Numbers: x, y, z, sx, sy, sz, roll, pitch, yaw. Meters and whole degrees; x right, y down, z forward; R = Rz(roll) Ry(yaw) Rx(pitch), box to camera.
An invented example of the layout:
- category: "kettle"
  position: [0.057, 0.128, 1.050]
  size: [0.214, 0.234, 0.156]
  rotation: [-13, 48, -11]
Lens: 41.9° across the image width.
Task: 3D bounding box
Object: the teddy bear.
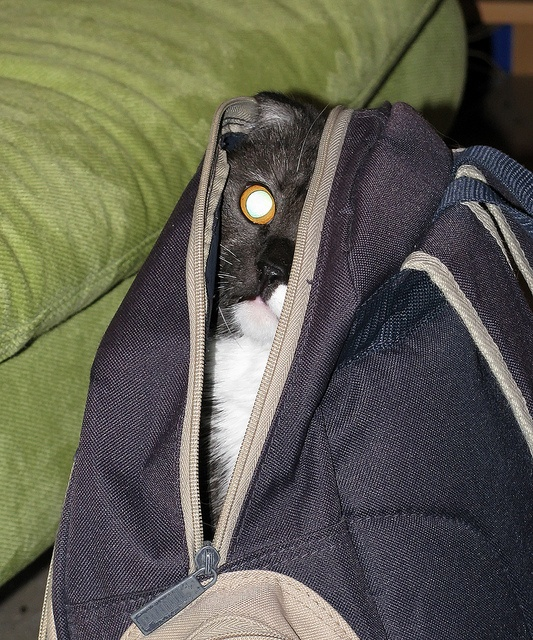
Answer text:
- category: "teddy bear"
  position: [-0.012, -0.029, 0.798]
  size: [0.124, 0.140, 0.494]
  rotation: [11, 87, 12]
